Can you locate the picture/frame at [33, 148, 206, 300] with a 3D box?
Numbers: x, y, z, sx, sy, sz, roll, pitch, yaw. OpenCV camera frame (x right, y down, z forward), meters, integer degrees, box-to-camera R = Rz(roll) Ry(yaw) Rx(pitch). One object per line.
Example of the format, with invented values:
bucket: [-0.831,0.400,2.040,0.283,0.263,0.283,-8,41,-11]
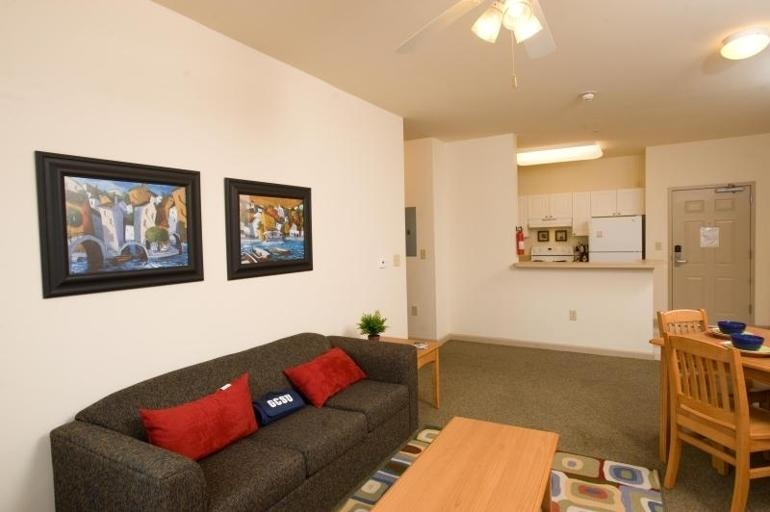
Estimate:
picture/frame: [-1.978,-0.237,3.725,0.083,1.112,1.199,1,2,43]

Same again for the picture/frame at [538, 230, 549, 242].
picture/frame: [2.698,-0.349,8.731,0.191,0.191,0.016,1,1,28]

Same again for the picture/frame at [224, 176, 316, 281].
picture/frame: [-1.067,-0.248,4.597,0.076,1.001,1.023,-1,-1,40]

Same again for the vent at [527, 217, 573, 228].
vent: [2.754,-0.548,8.541,0.718,0.239,0.290,4,10,22]

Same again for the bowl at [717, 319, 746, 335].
bowl: [2.790,0.568,4.174,0.183,0.090,0.188,1,3,0]

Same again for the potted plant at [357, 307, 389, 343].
potted plant: [-0.096,0.696,5.216,0.321,0.314,0.311,0,0,-22]

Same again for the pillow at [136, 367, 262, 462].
pillow: [-1.353,1.147,3.650,0.180,0.349,0.577,-31,-13,32]

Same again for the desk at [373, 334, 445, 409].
desk: [0.280,1.096,5.326,0.761,0.706,0.697,-3,-5,34]

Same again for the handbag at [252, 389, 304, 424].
handbag: [-0.840,1.173,4.049,0.278,0.099,0.215,-12,33,-42]

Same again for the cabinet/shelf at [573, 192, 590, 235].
cabinet/shelf: [3.159,-0.684,8.255,0.264,0.676,0.113,3,11,13]

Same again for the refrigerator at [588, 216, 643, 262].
refrigerator: [3.501,-0.269,7.799,0.708,0.701,0.207,2,10,9]

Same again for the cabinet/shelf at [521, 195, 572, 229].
cabinet/shelf: [2.688,-0.759,8.465,0.920,0.666,0.518,0,0,30]
